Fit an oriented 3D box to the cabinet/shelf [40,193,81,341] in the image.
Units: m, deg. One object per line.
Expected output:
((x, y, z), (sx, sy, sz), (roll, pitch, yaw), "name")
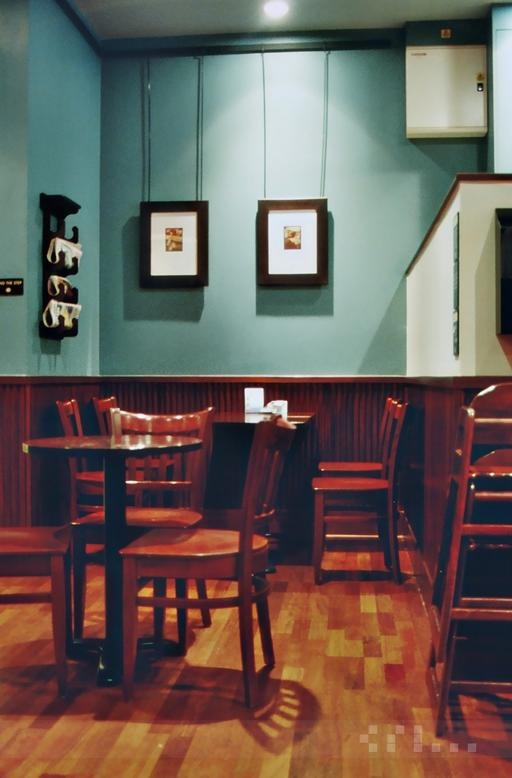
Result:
((-1.076, -0.651, 3.673), (0.151, 0.774, 0.478), (0, -1, -5), "cabinet/shelf")

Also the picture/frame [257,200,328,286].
((0.223, -0.959, 4.251), (0.454, 0.064, 0.716), (-1, -35, 4), "picture/frame")

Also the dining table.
((-0.334, 0.506, 1.981), (0.432, 0.840, 0.576), (0, -5, 5), "dining table")

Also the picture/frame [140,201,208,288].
((-0.541, -0.939, 4.357), (0.446, 0.782, 0.055), (0, -32, -8), "picture/frame")
